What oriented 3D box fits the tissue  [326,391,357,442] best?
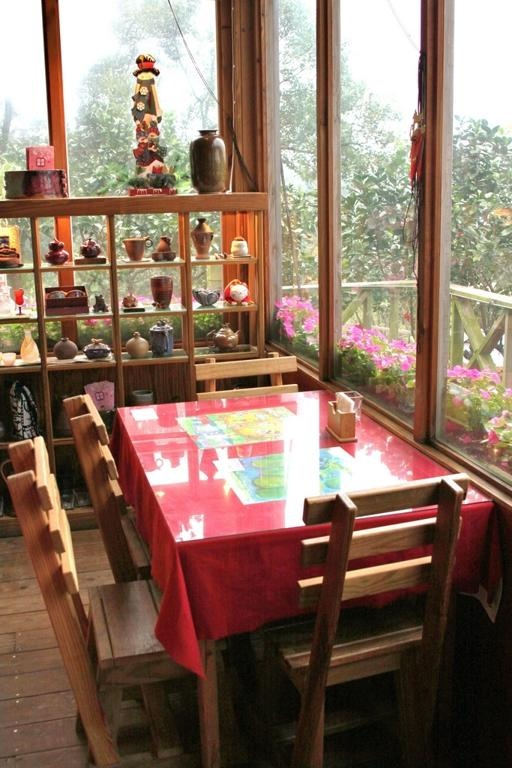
[{"bbox_3d":[0.274,0.112,1.867,0.047,0.124,0.127,-2,10,-5],"label":"tissue "}]

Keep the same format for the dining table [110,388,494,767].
[{"bbox_3d":[0.103,0.279,1.451,0.693,0.475,0.935,-3,16,-17],"label":"dining table"}]

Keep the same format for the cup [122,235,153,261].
[{"bbox_3d":[-0.643,-0.727,3.171,0.104,0.125,0.152,4,13,24],"label":"cup"}]

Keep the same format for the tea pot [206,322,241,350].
[{"bbox_3d":[-0.190,-0.314,3.439,0.229,0.201,0.160,0,3,-6],"label":"tea pot"}]

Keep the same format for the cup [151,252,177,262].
[{"bbox_3d":[-0.501,-0.686,3.170,0.087,0.035,0.069,1,5,-8],"label":"cup"}]

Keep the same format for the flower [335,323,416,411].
[{"bbox_3d":[0.479,-0.068,2.288,0.192,0.107,0.319,-1,20,-14],"label":"flower"}]

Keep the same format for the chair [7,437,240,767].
[{"bbox_3d":[-0.324,0.563,1.451,0.462,0.905,0.504,-10,20,-12],"label":"chair"}]

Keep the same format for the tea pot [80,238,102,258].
[{"bbox_3d":[-0.883,-0.709,3.068,0.093,0.103,0.122,-5,12,-16],"label":"tea pot"}]
